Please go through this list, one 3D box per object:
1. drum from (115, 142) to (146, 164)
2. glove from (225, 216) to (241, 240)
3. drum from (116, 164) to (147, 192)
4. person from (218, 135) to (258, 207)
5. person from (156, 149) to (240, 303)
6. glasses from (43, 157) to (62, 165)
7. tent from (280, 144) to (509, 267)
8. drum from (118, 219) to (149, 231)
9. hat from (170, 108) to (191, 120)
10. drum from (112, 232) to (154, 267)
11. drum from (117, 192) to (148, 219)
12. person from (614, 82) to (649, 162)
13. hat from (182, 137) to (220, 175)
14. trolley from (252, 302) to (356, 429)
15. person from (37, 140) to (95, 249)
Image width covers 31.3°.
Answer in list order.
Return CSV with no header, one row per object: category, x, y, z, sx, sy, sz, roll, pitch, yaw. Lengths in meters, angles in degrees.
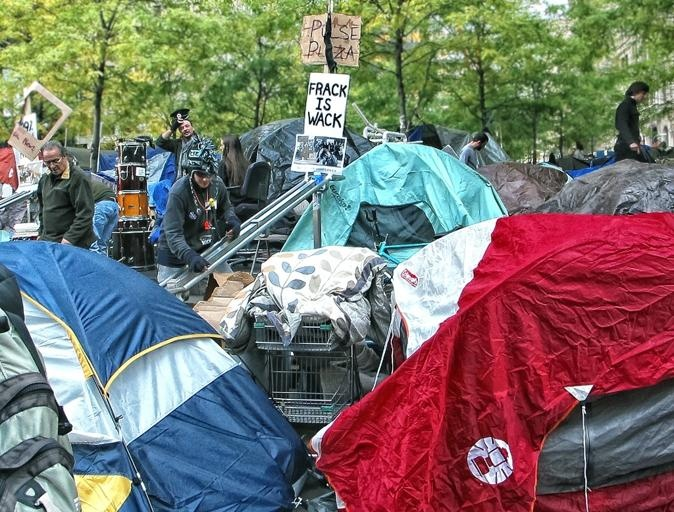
drum,-3.223,-1.577,18.702,0.320,0.321,0.429,0,1,34
glove,-1.461,-0.381,16.890,0.128,0.306,0.218,-2,-20,39
drum,-3.200,-1.206,18.650,0.382,0.414,0.399,-1,8,-7
person,-1.750,-1.321,19.801,0.436,1.426,0.470,25,33,38
person,-1.919,-0.383,16.837,0.991,2.269,1.168,-30,55,-32
glasses,-4.084,-1.327,17.036,0.299,0.085,0.150,-1,-1,43
tent,0.877,-0.783,17.924,2.182,1.103,2.297,-8,6,-4
drum,-3.194,-0.482,18.762,0.463,0.183,0.149,0,0,-15
hat,-2.431,-2.155,18.539,0.267,0.218,0.376,0,-1,-13
drum,-3.214,-0.075,18.816,0.528,0.584,0.547,-5,7,-4
drum,-3.210,-0.791,18.824,0.384,0.404,0.409,0,6,24
person,4.691,-2.107,19.144,0.512,1.307,0.734,0,0,13
hat,-1.870,-1.353,16.262,0.451,0.533,0.410,0,0,9
trolley,-0.376,1.344,14.774,0.914,1.585,1.508,2,10,15
person,-3.919,-0.870,17.180,0.810,1.493,0.595,0,0,-5
